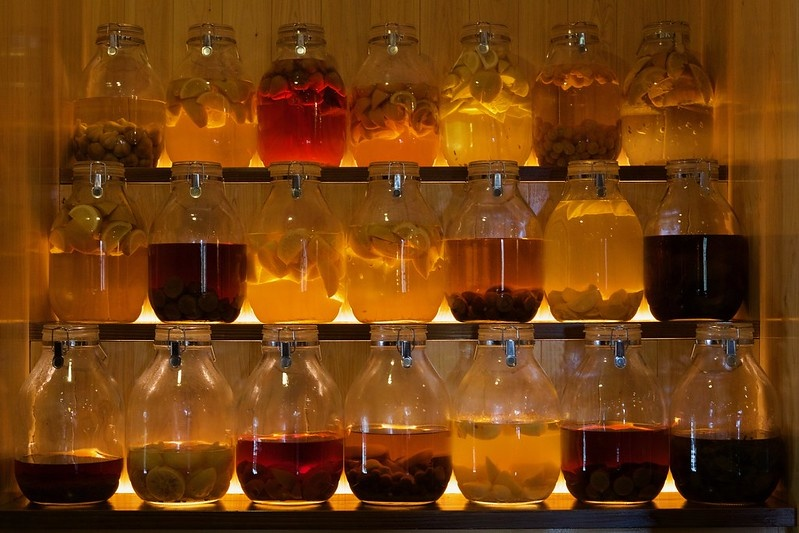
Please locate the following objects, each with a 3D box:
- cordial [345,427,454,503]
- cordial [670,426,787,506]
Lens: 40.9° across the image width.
[{"bbox_3d":[-0.011,0.425,2.402,0.181,0.131,0.189,-5,-9,33],"label":"cordial"},{"bbox_3d":[0.737,0.455,2.400,0.172,0.119,0.192,-1,-13,14],"label":"cordial"}]
